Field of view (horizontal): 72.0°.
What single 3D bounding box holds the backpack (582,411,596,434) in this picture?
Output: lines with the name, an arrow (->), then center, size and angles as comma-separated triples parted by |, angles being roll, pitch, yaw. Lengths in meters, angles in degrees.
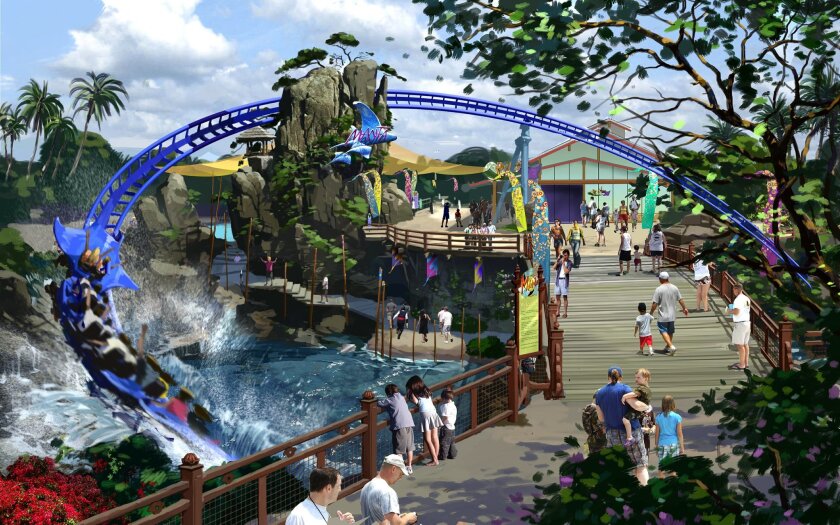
backpack -> 2.864, 2.654, 9.666 | 0.107, 0.470, 0.264 | -4, 4, -24

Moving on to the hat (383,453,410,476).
hat -> -0.310, 2.448, 7.110 | 0.253, 0.208, 0.224 | -2, 3, -8

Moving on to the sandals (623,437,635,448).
sandals -> 3.297, 2.808, 9.027 | 0.171, 0.187, 0.086 | -1, 4, 16
